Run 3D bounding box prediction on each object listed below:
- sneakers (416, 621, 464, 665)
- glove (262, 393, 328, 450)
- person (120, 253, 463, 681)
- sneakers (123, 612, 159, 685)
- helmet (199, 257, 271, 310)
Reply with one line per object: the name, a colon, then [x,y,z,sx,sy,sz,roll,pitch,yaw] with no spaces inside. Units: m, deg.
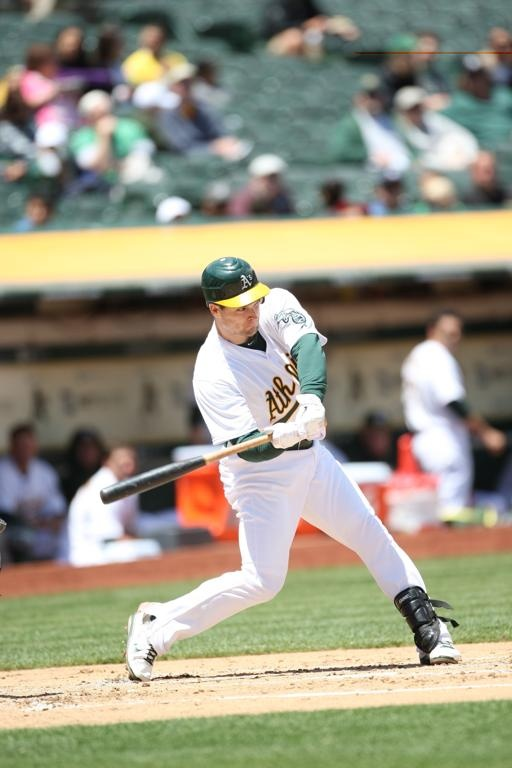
sneakers: [0.650,0.916,4.624,0.085,0.150,0.231,7,-20,-26]
glove: [0.161,0.132,4.361,0.199,0.170,0.082,-8,-11,5]
person: [0.047,0.309,4.590,1.107,1.457,0.560,-9,22,6]
sneakers: [-0.401,0.906,4.582,0.129,0.245,0.093,-11,-8,29]
helmet: [-0.074,-0.341,4.541,0.227,0.161,0.238,-7,19,9]
